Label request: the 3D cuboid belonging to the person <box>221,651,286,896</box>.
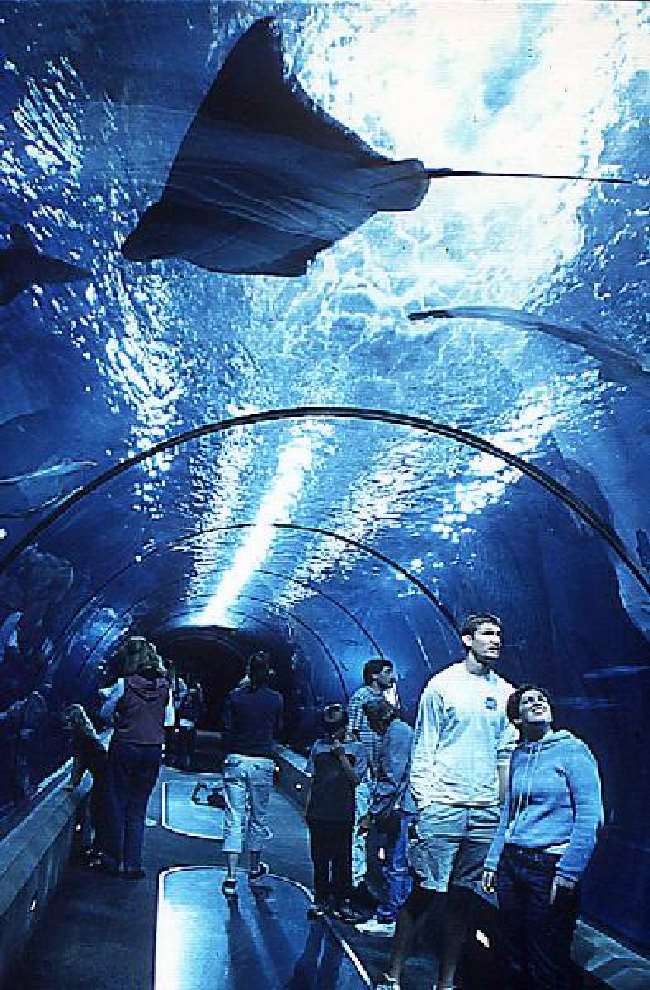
[{"bbox_3d":[-0.762,2.603,7.537,0.523,2.122,0.999,4,-15,5],"label":"person"}]
